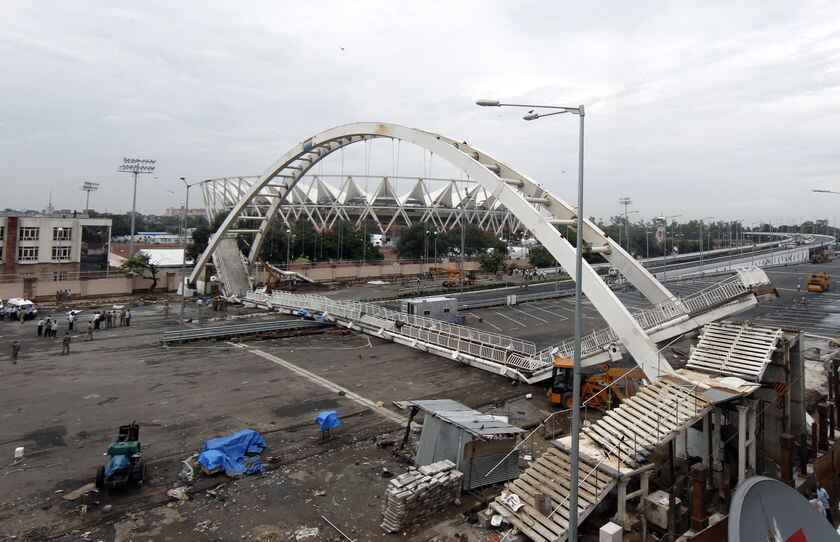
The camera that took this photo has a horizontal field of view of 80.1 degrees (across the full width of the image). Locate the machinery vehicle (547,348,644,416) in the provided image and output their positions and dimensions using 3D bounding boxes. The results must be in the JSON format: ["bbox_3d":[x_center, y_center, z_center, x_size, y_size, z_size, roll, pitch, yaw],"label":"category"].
[{"bbox_3d":[8.686,5.859,24.535,4.476,1.900,1.835,0,-10,25],"label":"machinery vehicle"}]

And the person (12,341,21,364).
[{"bbox_3d":[-24.196,4.925,29.863,0.400,1.104,1.787,-11,17,-37],"label":"person"}]
